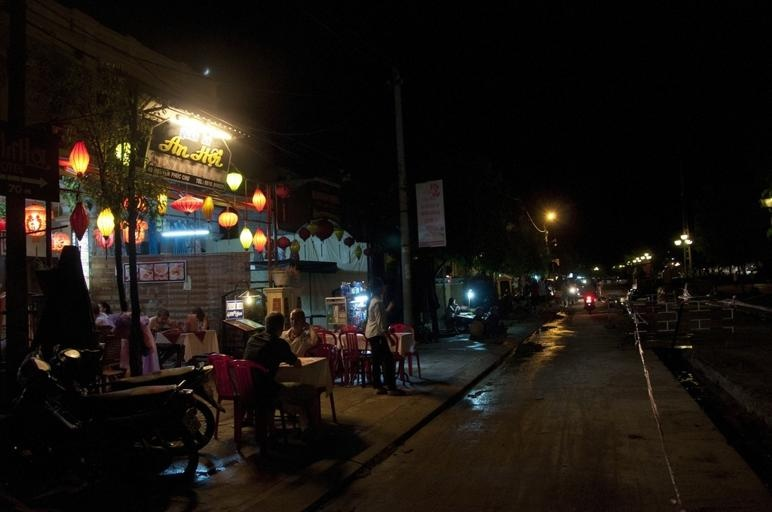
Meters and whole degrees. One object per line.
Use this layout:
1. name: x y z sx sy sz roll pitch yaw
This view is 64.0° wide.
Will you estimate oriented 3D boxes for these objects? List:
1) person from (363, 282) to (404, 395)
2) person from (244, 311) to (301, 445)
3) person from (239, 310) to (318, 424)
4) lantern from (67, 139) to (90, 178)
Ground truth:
1. person: -0.117 2.003 14.159 0.997 2.125 0.752 0 -1 15
2. person: -2.047 2.104 10.771 0.900 2.207 1.373 0 -1 -12
3. person: -1.882 1.818 10.649 0.745 2.038 0.920 -1 -1 24
4. lantern: -6.064 -1.934 12.239 0.348 0.628 0.548 -3 1 -26
